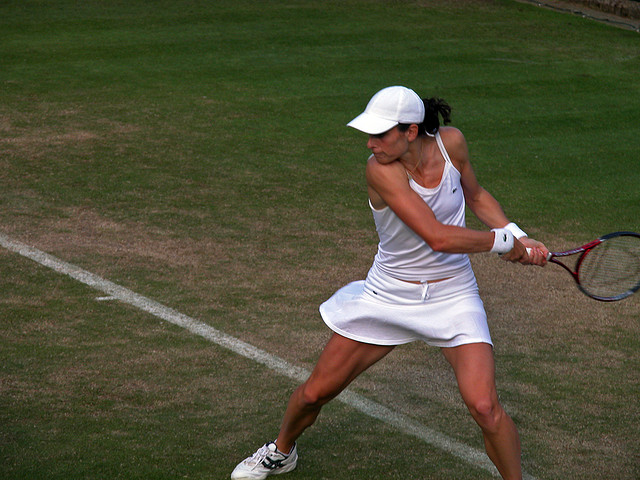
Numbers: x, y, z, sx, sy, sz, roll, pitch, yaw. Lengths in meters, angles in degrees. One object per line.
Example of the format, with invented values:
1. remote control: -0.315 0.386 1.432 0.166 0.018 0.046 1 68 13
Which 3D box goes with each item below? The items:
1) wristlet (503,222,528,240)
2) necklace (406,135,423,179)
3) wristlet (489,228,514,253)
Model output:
1. wristlet: 1.676 -0.080 7.986 0.166 0.139 0.133 46 14 -4
2. necklace: 0.771 -0.640 7.454 0.062 0.298 0.182 18 24 11
3. wristlet: 1.469 0.009 7.605 0.172 0.158 0.202 -4 34 -9
